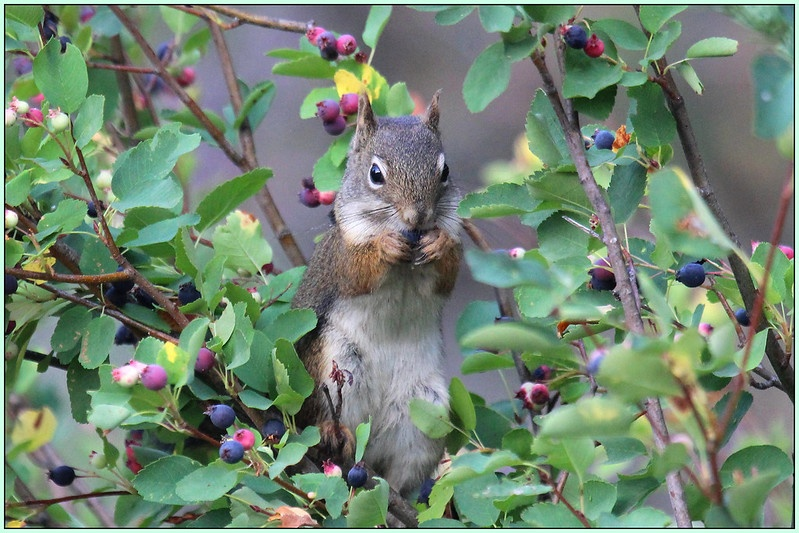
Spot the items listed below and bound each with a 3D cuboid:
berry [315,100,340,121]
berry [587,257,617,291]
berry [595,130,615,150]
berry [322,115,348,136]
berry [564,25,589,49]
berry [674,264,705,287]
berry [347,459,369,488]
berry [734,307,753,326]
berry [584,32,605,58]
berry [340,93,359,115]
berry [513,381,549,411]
[{"bbox_3d":[-0.396,-0.857,4.606,0.090,0.100,0.127,9,-1,-10],"label":"berry"},{"bbox_3d":[0.909,0.049,3.776,0.122,0.184,0.139,5,22,5],"label":"berry"},{"bbox_3d":[0.980,-0.599,4.015,0.085,0.100,0.100,5,-8,1],"label":"berry"},{"bbox_3d":[-0.361,-0.787,4.674,0.119,0.102,0.089,-1,11,-43],"label":"berry"},{"bbox_3d":[0.790,-1.018,3.722,0.078,0.094,0.111,2,5,16],"label":"berry"},{"bbox_3d":[1.309,0.038,3.765,0.121,0.104,0.095,7,-17,28],"label":"berry"},{"bbox_3d":[-0.190,0.946,3.792,0.080,0.118,0.085,15,-27,-8],"label":"berry"},{"bbox_3d":[1.624,0.236,3.932,0.062,0.065,0.086,1,1,0],"label":"berry"},{"bbox_3d":[0.895,-1.004,3.813,0.091,0.105,0.148,0,12,13],"label":"berry"},{"bbox_3d":[-0.288,-0.918,4.709,0.098,0.126,0.101,1,11,-9],"label":"berry"},{"bbox_3d":[0.650,0.633,4.060,0.157,0.136,0.113,-1,11,8],"label":"berry"}]
